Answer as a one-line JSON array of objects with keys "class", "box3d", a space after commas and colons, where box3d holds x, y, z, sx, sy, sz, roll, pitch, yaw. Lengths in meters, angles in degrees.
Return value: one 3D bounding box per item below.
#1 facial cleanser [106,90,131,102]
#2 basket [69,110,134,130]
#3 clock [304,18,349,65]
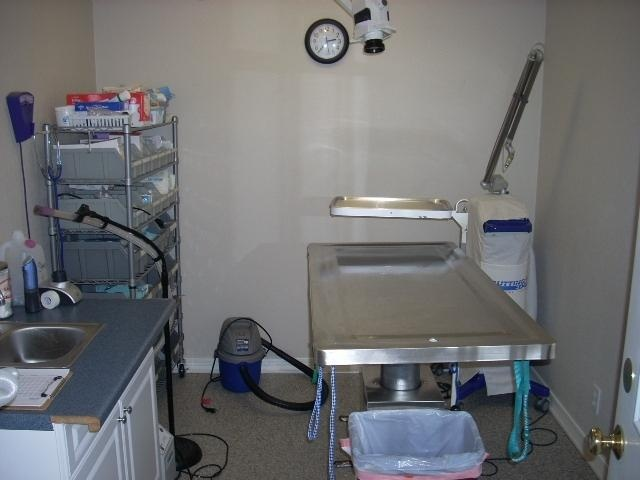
[{"class": "facial cleanser", "box3d": [-1.142, -0.827, 3.161, 0.113, 0.063, 0.158, -5, 15, -19]}, {"class": "basket", "box3d": [-1.222, -0.671, 3.071, 0.212, 0.077, 0.158, 1, 17, -1]}, {"class": "clock", "box3d": [0.038, -1.392, 3.803, 0.276, 0.306, 0.043, 0, 12, -2]}]
